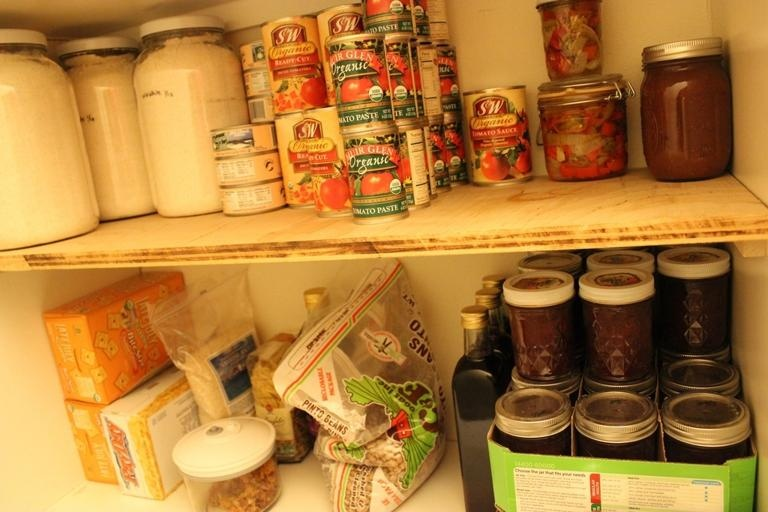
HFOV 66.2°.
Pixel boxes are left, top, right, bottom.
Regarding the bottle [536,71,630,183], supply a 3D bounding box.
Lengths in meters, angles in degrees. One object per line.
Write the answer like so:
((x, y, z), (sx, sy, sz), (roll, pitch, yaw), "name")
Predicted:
((0.389, -0.248, 1.175), (0.226, 0.178, 0.203), (-10, 14, -5), "bottle")

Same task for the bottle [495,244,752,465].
((0.434, 0.151, 1.184), (0.453, 0.430, 0.253), (-2, 11, 19), "bottle")

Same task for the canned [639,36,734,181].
((0.546, -0.260, 1.069), (0.144, 0.250, 0.071), (-4, 19, 24), "canned")
